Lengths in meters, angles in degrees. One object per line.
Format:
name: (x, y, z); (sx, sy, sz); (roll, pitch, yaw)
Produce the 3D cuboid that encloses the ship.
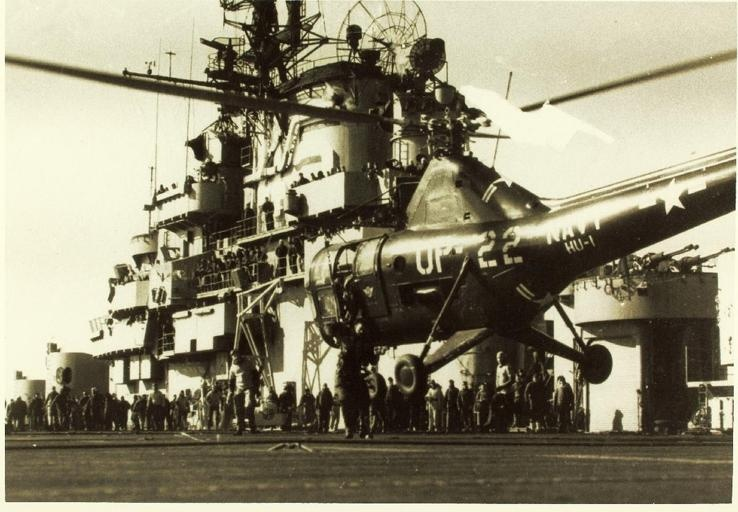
ship: (-0.504, -0.837, 40.799); (13.584, 9.119, 15.959); (3, -7, -43)
